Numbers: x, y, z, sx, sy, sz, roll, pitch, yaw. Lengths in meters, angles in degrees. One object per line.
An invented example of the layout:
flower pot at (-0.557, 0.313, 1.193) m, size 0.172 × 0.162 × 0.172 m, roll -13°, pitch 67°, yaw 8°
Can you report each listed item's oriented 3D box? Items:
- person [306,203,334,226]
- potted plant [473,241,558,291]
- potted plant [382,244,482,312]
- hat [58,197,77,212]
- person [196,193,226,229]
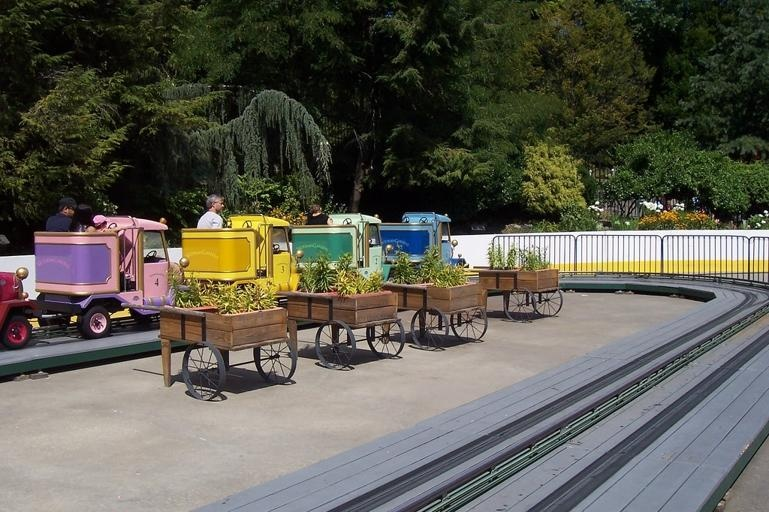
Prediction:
person at (-1.719, -1.100, 18.774) m, size 0.659 × 0.644 × 2.742 m, roll -2°, pitch 0°, yaw -5°
potted plant at (3.519, 0.356, 17.787) m, size 1.367 × 0.925 × 1.356 m, roll 2°, pitch -2°, yaw -44°
potted plant at (1.110, 0.721, 14.996) m, size 1.250 × 1.346 × 1.896 m, roll 1°, pitch -2°, yaw -42°
hat at (-6.523, -1.086, 14.546) m, size 0.265 × 0.211 × 0.380 m, roll 2°, pitch 9°, yaw 11°
person at (-3.863, -0.977, 15.817) m, size 0.425 × 0.847 × 0.856 m, roll -3°, pitch -3°, yaw -28°
